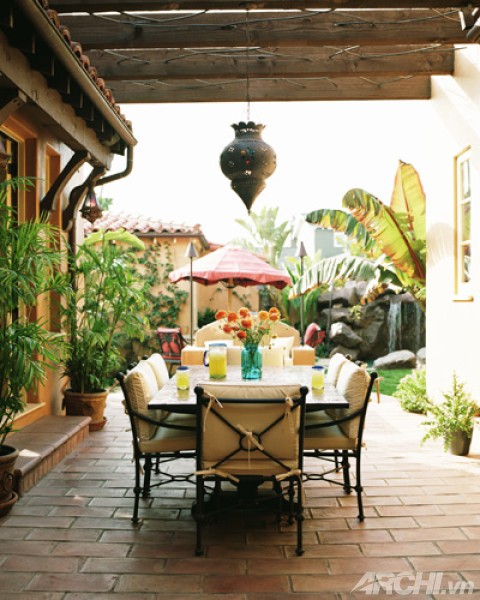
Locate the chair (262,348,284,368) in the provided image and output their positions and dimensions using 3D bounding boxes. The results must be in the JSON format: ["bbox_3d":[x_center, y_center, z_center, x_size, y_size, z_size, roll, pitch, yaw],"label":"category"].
[{"bbox_3d":[0.295,0.509,5.174,0.220,0.177,0.216,-1,-1,7],"label":"chair"}]

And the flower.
[{"bbox_3d":[0.038,0.186,3.672,0.385,0.275,0.442,1,1,-2],"label":"flower"}]

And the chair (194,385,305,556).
[{"bbox_3d":[0.047,0.847,2.903,0.557,0.773,0.579,-4,-15,14],"label":"chair"}]

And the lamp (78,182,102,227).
[{"bbox_3d":[-1.350,-0.867,5.242,0.169,0.332,0.164,4,11,3],"label":"lamp"}]

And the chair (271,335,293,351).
[{"bbox_3d":[0.531,0.523,7.039,0.368,0.164,0.361,0,-5,3],"label":"chair"}]

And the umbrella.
[{"bbox_3d":[-0.091,-0.392,7.240,1.100,0.770,1.102,3,6,32],"label":"umbrella"}]

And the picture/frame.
[{"bbox_3d":[1.939,-0.653,5.070,0.153,1.318,0.478,1,1,19],"label":"picture/frame"}]

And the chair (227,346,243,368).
[{"bbox_3d":[-0.076,0.470,4.911,0.176,0.237,0.215,3,-7,-3],"label":"chair"}]

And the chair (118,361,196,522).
[{"bbox_3d":[-0.454,0.889,3.797,0.491,0.857,1.381,-5,-9,-5],"label":"chair"}]
